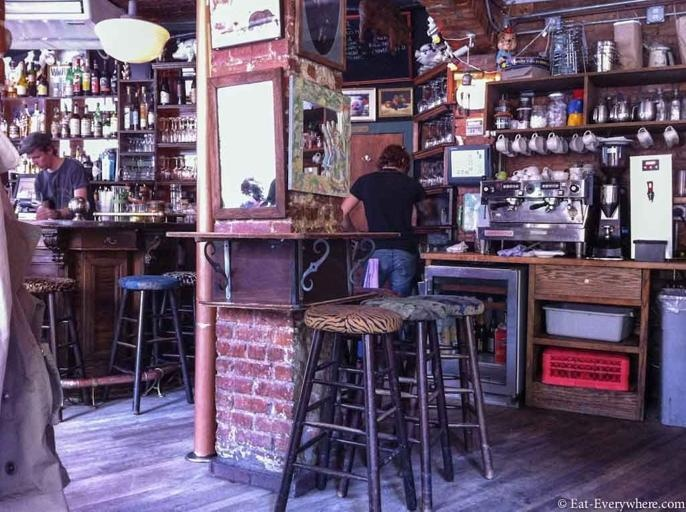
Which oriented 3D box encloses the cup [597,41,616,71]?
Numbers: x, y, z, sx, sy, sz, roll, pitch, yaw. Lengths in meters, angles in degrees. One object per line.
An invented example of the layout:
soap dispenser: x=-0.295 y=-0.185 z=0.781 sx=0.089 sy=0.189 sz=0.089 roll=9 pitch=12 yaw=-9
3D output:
cup: x=2.002 y=-1.526 z=4.861 sx=0.133 sy=0.245 sz=0.201 roll=5 pitch=8 yaw=31

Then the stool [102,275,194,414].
stool: x=-1.457 y=0.594 z=4.850 sx=0.644 sy=0.935 sz=1.000 roll=-2 pitch=8 yaw=-20

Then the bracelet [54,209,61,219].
bracelet: x=-2.221 y=-0.320 z=4.943 sx=0.045 sy=0.051 sz=0.053 roll=-1 pitch=4 yaw=-5

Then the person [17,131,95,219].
person: x=-2.441 y=-0.588 z=5.507 sx=0.506 sy=0.942 sz=0.527 roll=-11 pitch=4 yaw=-7

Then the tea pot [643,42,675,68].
tea pot: x=2.386 y=-1.522 z=4.793 sx=0.220 sy=0.246 sz=0.437 roll=4 pitch=8 yaw=26

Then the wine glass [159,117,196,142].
wine glass: x=-1.813 y=-1.381 z=6.940 sx=0.465 sy=0.299 sz=0.190 roll=4 pitch=8 yaw=25

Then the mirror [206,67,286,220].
mirror: x=-0.502 y=-0.580 z=3.332 sx=0.459 sy=0.764 sz=0.042 roll=4 pitch=8 yaw=26

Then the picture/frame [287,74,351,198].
picture/frame: x=-0.145 y=-0.649 z=3.410 sx=0.049 sy=0.694 sz=0.714 roll=3 pitch=3 yaw=30

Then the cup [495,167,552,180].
cup: x=1.439 y=-0.652 z=5.021 sx=0.241 sy=0.082 sz=0.183 roll=0 pitch=0 yaw=14

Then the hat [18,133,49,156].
hat: x=-2.581 y=-0.946 z=5.278 sx=0.224 sy=0.120 sz=0.166 roll=20 pitch=32 yaw=35

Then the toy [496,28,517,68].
toy: x=1.345 y=-1.705 z=5.231 sx=0.153 sy=0.305 sz=0.245 roll=2 pitch=7 yaw=13

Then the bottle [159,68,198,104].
bottle: x=-1.788 y=-1.840 z=6.899 sx=0.457 sy=0.407 sz=0.211 roll=4 pitch=8 yaw=27

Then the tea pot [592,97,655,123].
tea pot: x=2.040 y=-1.104 z=4.843 sx=0.589 sy=0.251 sz=0.201 roll=-3 pitch=10 yaw=-6

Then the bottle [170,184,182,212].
bottle: x=-1.833 y=-0.640 z=6.942 sx=0.126 sy=0.278 sz=0.438 roll=-2 pitch=8 yaw=-15
